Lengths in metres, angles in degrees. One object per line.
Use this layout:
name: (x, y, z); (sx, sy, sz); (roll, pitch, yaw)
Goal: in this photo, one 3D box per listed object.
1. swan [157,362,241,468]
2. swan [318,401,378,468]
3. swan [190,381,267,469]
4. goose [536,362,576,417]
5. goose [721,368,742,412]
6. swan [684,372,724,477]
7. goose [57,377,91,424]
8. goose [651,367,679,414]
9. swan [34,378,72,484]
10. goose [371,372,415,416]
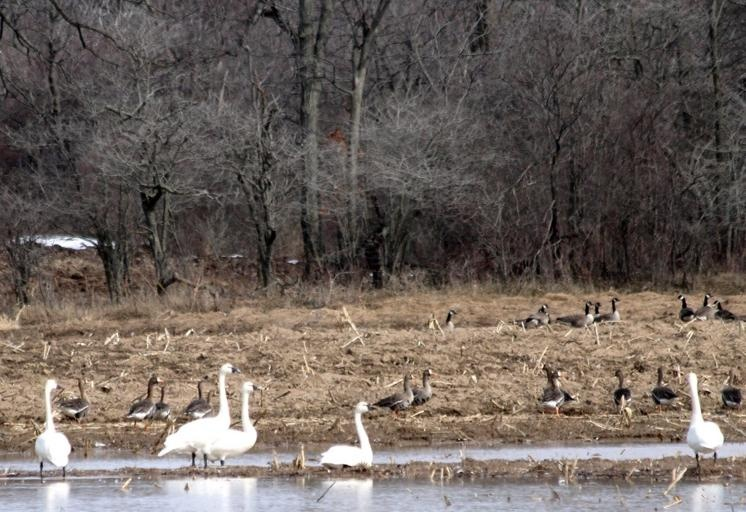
swan: (-4.575, 4.375, 40.056); (2.025, 2.787, 0.833); (-3, 10, -15)
swan: (-0.788, 5.024, 40.910); (1.853, 2.685, 0.993); (-2, 5, -21)
swan: (-4.157, 4.744, 41.349); (2.957, 2.601, 1.328); (2, -3, -20)
goose: (5.411, 3.943, 43.963); (0.868, 1.404, 1.415); (4, 24, 19)
goose: (10.675, 4.064, 44.173); (0.627, 1.120, 1.443); (-4, -2, 14)
swan: (8.825, 4.591, 40.285); (1.033, 2.712, 1.904); (1, -12, -1)
goose: (-8.682, 4.289, 43.334); (1.214, 1.312, 0.509); (-8, -8, -45)
goose: (8.637, 4.038, 43.938); (0.516, 1.269, 1.384); (4, 0, -17)
swan: (-8.344, 4.794, 40.171); (1.073, 2.886, 1.532); (5, -2, -33)
goose: (0.671, 4.100, 43.724); (1.323, 1.290, 0.713); (2, 17, 25)
